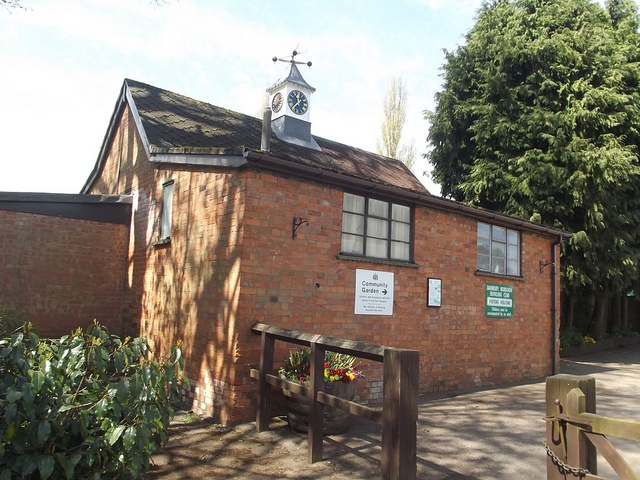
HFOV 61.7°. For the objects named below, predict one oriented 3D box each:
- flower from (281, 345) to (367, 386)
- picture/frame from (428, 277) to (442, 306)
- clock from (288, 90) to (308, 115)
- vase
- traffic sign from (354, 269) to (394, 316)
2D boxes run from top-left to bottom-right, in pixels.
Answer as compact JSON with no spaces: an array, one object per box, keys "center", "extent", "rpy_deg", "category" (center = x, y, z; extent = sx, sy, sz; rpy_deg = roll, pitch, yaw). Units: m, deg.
[{"center":[0.033,2.089,8.776],"extent":[0.816,0.315,0.813],"rpy_deg":[10,-26,-8],"category":"flower"},{"center":[2.431,1.113,11.411],"extent":[0.467,0.692,0.049],"rpy_deg":[12,-12,-41],"category":"picture/frame"},{"center":[-0.673,-3.986,15.679],"extent":[0.658,0.716,0.054],"rpy_deg":[25,-36,-37],"category":"clock"},{"center":[-0.005,2.621,8.543],"extent":[0.855,0.609,0.858],"rpy_deg":[-3,-20,13],"category":"vase"},{"center":[1.066,1.039,10.465],"extent":[0.203,0.897,1.025],"rpy_deg":[2,-1,45],"category":"traffic sign"}]
